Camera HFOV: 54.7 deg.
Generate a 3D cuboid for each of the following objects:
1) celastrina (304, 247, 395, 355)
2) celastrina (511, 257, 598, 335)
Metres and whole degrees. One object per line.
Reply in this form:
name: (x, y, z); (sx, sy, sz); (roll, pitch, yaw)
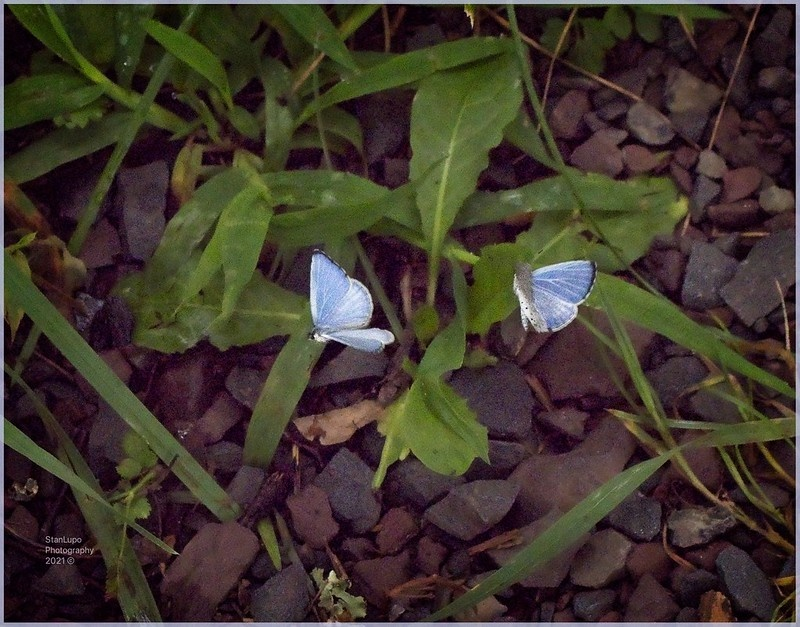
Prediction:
celastrina: (-0.083, -0.033, 1.476); (0.148, 0.203, 0.102); (8, 35, 10)
celastrina: (0.298, -0.045, 1.442); (0.175, 0.091, 0.124); (-16, 87, 43)
